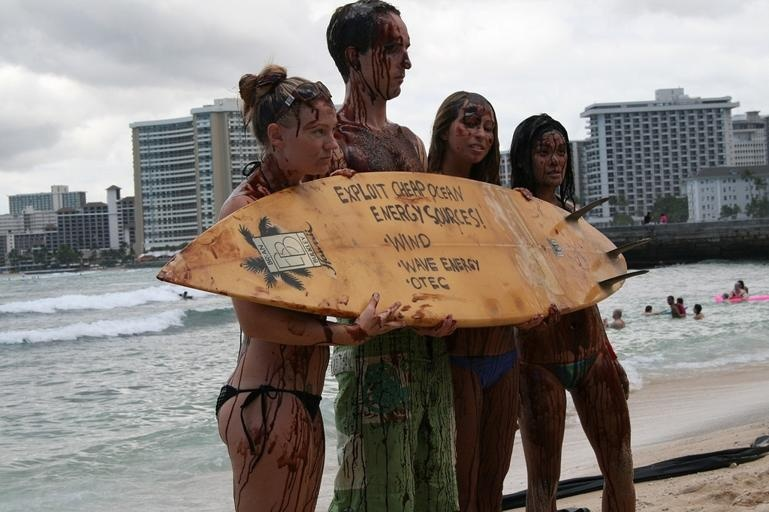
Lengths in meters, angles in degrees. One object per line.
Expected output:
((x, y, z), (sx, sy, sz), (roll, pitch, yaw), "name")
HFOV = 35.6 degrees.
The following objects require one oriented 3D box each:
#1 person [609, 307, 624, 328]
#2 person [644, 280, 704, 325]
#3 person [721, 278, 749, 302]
((10.394, 2.843, 53.910), (0.431, 0.678, 0.715), (9, 13, 37), "person")
((13.118, 2.526, 54.240), (2.426, 1.177, 0.942), (2, 41, 26), "person")
((16.225, 1.741, 56.223), (0.980, 0.542, 1.386), (-13, -6, -27), "person")
